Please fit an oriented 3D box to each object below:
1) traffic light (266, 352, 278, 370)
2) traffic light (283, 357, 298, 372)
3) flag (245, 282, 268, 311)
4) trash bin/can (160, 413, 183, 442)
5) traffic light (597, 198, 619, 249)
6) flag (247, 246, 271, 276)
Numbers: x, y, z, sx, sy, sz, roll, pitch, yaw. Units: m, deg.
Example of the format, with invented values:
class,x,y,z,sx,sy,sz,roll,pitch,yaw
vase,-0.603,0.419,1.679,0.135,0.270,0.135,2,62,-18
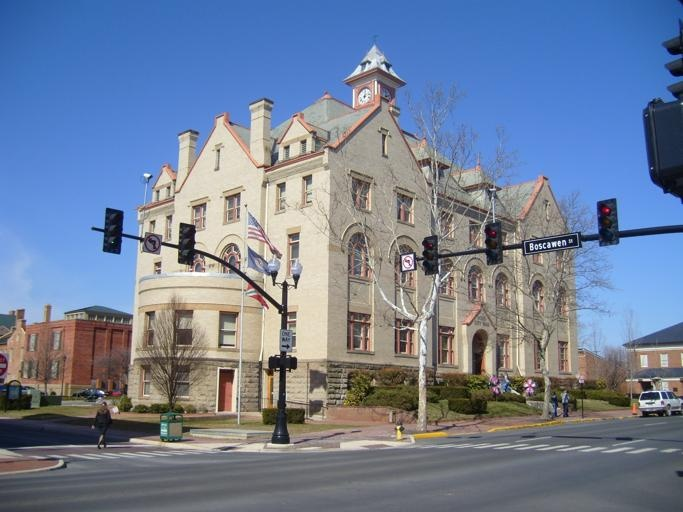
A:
class,x,y,z,sx,sy,sz,roll,pitch,yaw
traffic light,-2.852,4.407,28.537,0.436,0.493,0.501,3,-16,-11
traffic light,-2.174,4.495,28.974,0.427,0.579,0.799,-1,-16,2
flag,-5.210,2.473,40.951,0.227,2.028,1.924,-39,-62,13
trash bin/can,-7.449,7.466,29.727,0.914,1.226,0.671,5,-17,-19
traffic light,7.840,-0.981,20.049,0.528,1.442,0.730,-6,-17,20
flag,-5.117,0.257,42.009,0.154,1.358,1.838,-10,-17,25
